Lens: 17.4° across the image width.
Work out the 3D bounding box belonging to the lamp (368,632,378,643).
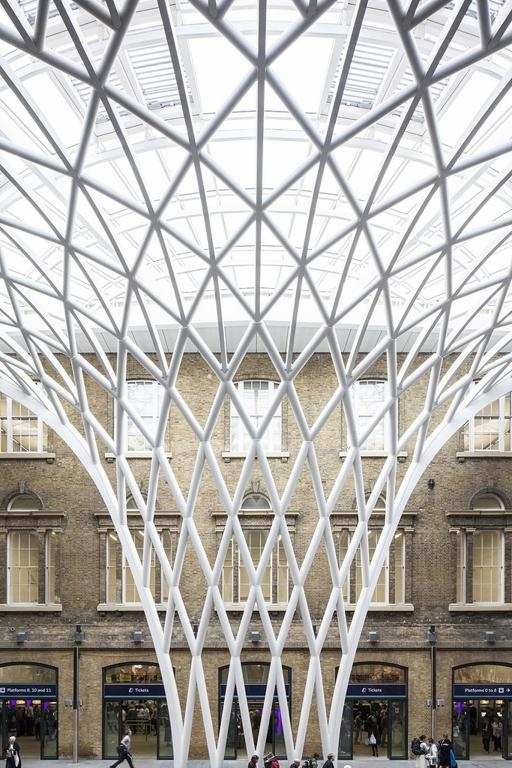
[{"bbox_3d":[3.895,8.571,55.659,0.289,0.349,0.305,1,1,0],"label":"lamp"}]

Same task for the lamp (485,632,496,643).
[{"bbox_3d":[7.822,8.602,55.614,0.406,0.445,0.347,-1,-12,-2],"label":"lamp"}]

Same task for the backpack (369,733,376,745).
[{"bbox_3d":[3.846,11.841,55.146,0.296,0.522,0.238,1,4,5],"label":"backpack"}]

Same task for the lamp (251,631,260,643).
[{"bbox_3d":[-0.017,8.522,55.441,0.295,0.395,0.476,-1,-12,3],"label":"lamp"}]

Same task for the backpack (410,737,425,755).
[{"bbox_3d":[4.918,11.126,50.554,0.397,0.475,0.870,0,-13,-4],"label":"backpack"}]
